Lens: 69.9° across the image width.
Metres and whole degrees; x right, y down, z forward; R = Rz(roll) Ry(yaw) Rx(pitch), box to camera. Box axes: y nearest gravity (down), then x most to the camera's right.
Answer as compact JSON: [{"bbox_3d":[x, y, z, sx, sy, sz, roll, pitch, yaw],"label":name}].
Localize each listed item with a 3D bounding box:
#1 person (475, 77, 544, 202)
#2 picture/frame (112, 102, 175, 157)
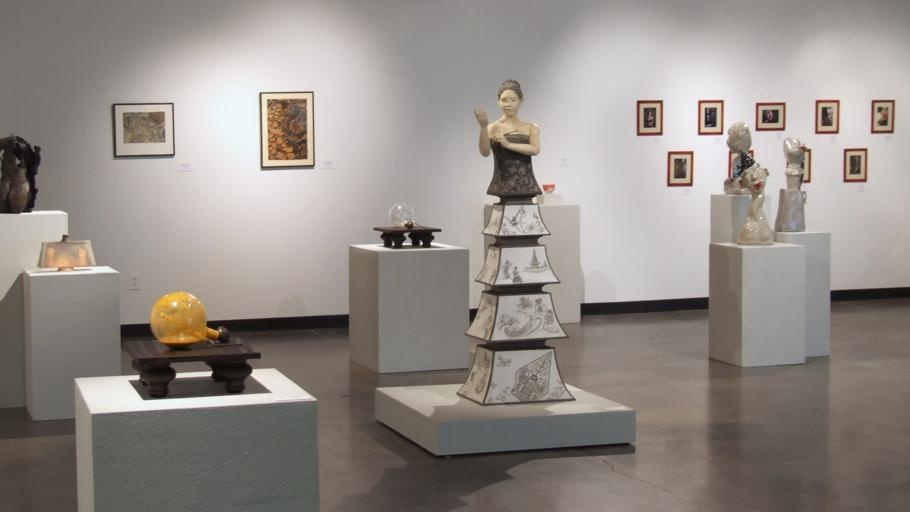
[{"bbox_3d":[0.546,-1.181,6.695,0.711,1.245,0.494,-1,9,-6],"label":"person"},{"bbox_3d":[-4.760,-1.929,9.840,0.868,0.751,0.062,-1,6,-5],"label":"picture/frame"}]
